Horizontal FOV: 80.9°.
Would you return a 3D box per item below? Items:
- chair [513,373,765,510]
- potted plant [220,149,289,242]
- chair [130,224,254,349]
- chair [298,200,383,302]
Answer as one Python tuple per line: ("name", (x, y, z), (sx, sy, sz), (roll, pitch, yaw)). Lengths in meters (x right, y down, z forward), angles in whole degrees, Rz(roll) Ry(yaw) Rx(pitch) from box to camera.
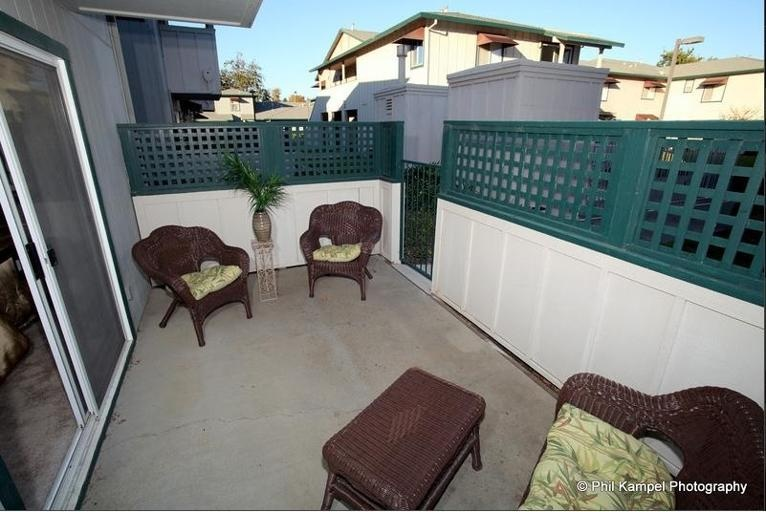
("chair", (1.855, 1.196, 2.965), (1.056, 0.697, 0.467), (11, 22, 30))
("potted plant", (-1.686, -0.714, 5.699), (0.753, 1.124, 0.765), (-2, 19, -2))
("chair", (-2.088, 0.246, 5.000), (0.979, 1.101, 1.112), (2, 21, 7))
("chair", (-0.518, -0.101, 5.729), (0.976, 1.007, 0.982), (-1, 19, 1))
